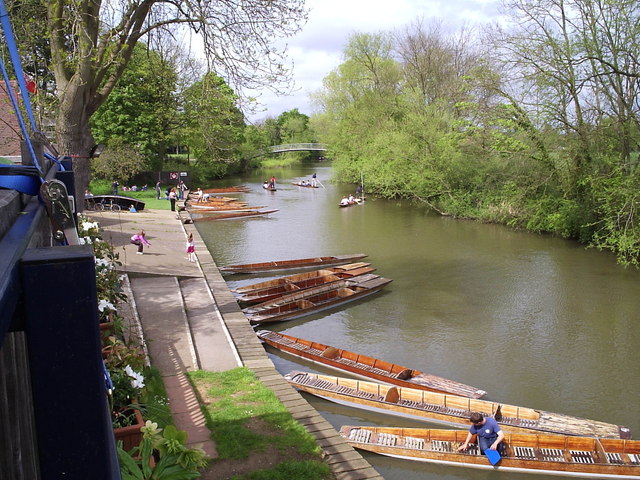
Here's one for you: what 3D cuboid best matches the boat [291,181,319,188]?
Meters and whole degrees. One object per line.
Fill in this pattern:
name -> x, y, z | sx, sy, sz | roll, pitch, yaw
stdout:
boat -> -1.844, -5.942, 52.871 | 1.152, 0.730, 5.091 | -7, 9, -34

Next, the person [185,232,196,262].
person -> -5.323, 0.338, 20.019 | 0.393, 1.196, 1.107 | 2, 5, -8

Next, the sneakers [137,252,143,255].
sneakers -> -6.978, 0.512, 18.907 | 0.291, 0.130, 0.106 | 0, 1, -40

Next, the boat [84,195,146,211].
boat -> -12.111, -2.243, 29.409 | 2.323, 0.579, 1.410 | 3, 1, -21

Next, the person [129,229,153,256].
person -> -7.408, 0.123, 20.154 | 0.690, 0.932, 0.559 | -10, 54, -27
